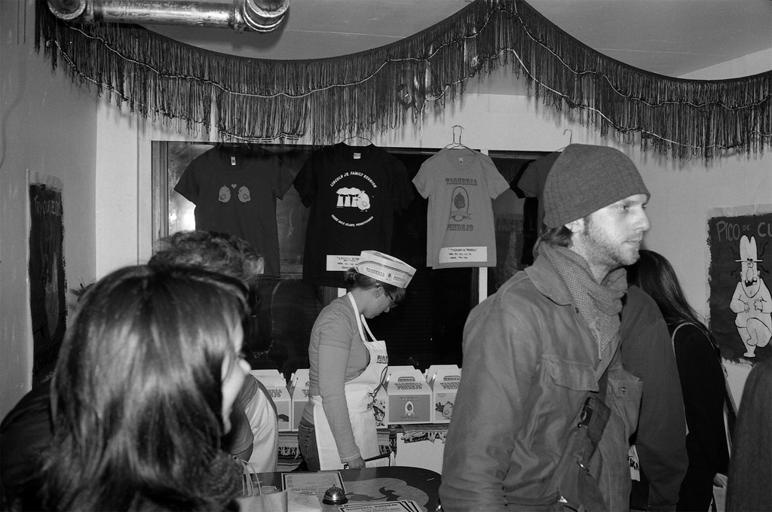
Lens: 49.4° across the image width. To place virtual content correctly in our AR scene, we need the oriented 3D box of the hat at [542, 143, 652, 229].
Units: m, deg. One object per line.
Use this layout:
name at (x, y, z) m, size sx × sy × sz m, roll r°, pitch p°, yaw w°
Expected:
hat at (0.807, -0.272, 3.354) m, size 0.402 × 0.368 × 0.396 m, roll 5°, pitch -14°, yaw -43°

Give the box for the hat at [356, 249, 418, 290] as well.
hat at (0.000, 0.071, 4.215) m, size 0.220 × 0.107 × 0.183 m, roll 25°, pitch 3°, yaw -24°
